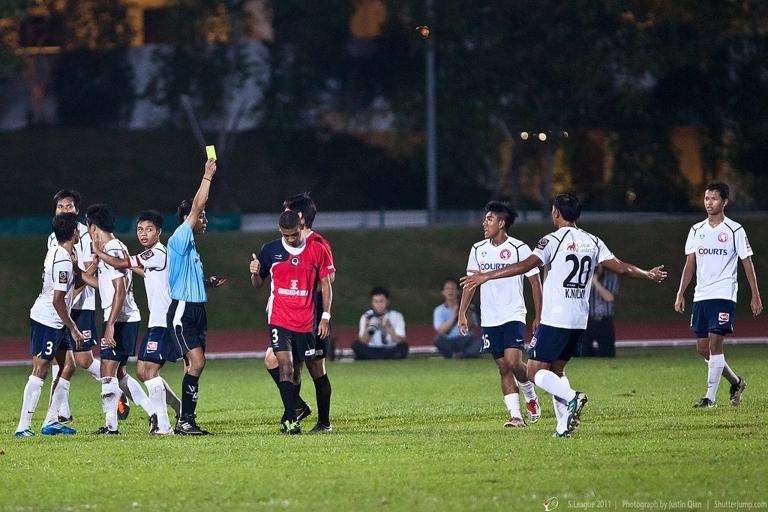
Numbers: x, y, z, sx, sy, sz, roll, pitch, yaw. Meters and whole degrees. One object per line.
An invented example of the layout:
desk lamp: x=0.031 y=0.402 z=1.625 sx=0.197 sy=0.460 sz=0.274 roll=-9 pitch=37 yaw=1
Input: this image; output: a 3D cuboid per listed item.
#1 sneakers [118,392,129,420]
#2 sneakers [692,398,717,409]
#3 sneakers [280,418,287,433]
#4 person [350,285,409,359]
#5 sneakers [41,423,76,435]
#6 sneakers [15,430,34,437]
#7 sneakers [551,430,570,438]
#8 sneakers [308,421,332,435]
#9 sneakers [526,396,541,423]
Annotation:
sneakers: x=-5.418 y=3.118 z=31.259 sx=0.196 sy=0.542 sz=0.232 roll=-1 pitch=0 yaw=9
sneakers: x=6.656 y=3.059 z=31.217 sx=0.492 sy=0.208 sz=0.194 roll=2 pitch=-5 yaw=-2
sneakers: x=-2.008 y=3.398 z=30.134 sx=0.187 sy=0.232 sz=0.232 roll=0 pitch=-6 yaw=-4
person: x=-0.087 y=1.680 z=37.336 sx=1.335 sy=1.841 sz=1.021 roll=0 pitch=1 yaw=0
sneakers: x=-6.597 y=3.512 z=30.487 sx=0.587 sy=0.249 sz=0.287 roll=0 pitch=5 yaw=-3
sneakers: x=-7.244 y=3.563 z=30.312 sx=0.383 sy=0.145 sz=0.294 roll=0 pitch=1 yaw=-14
sneakers: x=3.488 y=3.503 z=29.666 sx=0.339 sy=0.155 sz=0.125 roll=-6 pitch=2 yaw=24
sneakers: x=-1.261 y=3.462 z=30.195 sx=0.371 sy=0.155 sz=0.192 roll=5 pitch=-6 yaw=-24
sneakers: x=3.049 y=3.167 z=30.731 sx=0.211 sy=0.590 sz=0.254 roll=-6 pitch=-16 yaw=13
